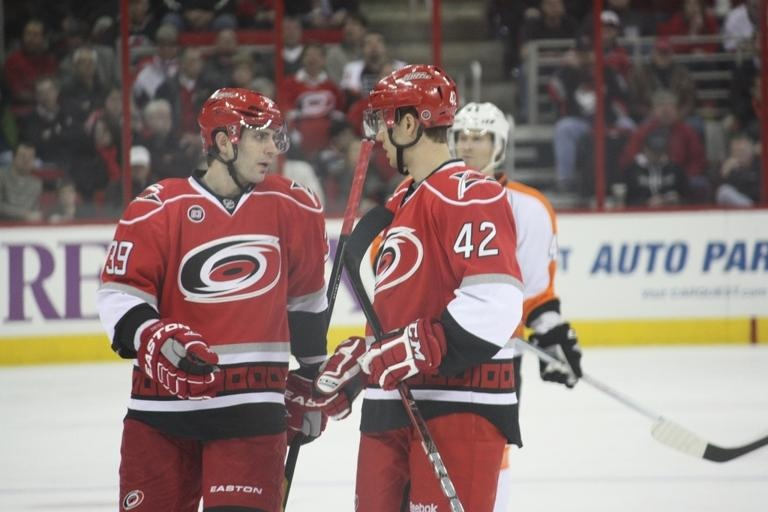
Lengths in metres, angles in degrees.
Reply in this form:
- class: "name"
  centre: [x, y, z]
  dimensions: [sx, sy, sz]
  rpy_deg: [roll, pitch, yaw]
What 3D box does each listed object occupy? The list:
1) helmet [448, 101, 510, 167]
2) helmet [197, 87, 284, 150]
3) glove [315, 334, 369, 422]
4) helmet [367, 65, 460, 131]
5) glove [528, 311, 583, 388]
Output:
- class: "helmet"
  centre: [0.693, -0.868, 11.153]
  dimensions: [0.365, 0.470, 0.460]
  rpy_deg: [0, 1, 12]
- class: "helmet"
  centre: [-0.903, -0.890, 9.950]
  dimensions: [0.452, 0.476, 0.369]
  rpy_deg: [-3, 0, 3]
- class: "glove"
  centre: [-0.266, 0.795, 9.951]
  dimensions: [0.186, 0.499, 0.358]
  rpy_deg: [19, -23, 40]
- class: "helmet"
  centre: [0.178, -0.989, 9.798]
  dimensions: [0.452, 0.376, 0.376]
  rpy_deg: [7, 4, 15]
- class: "glove"
  centre: [1.173, 0.609, 10.795]
  dimensions: [0.218, 0.459, 0.467]
  rpy_deg: [-39, 27, 6]
